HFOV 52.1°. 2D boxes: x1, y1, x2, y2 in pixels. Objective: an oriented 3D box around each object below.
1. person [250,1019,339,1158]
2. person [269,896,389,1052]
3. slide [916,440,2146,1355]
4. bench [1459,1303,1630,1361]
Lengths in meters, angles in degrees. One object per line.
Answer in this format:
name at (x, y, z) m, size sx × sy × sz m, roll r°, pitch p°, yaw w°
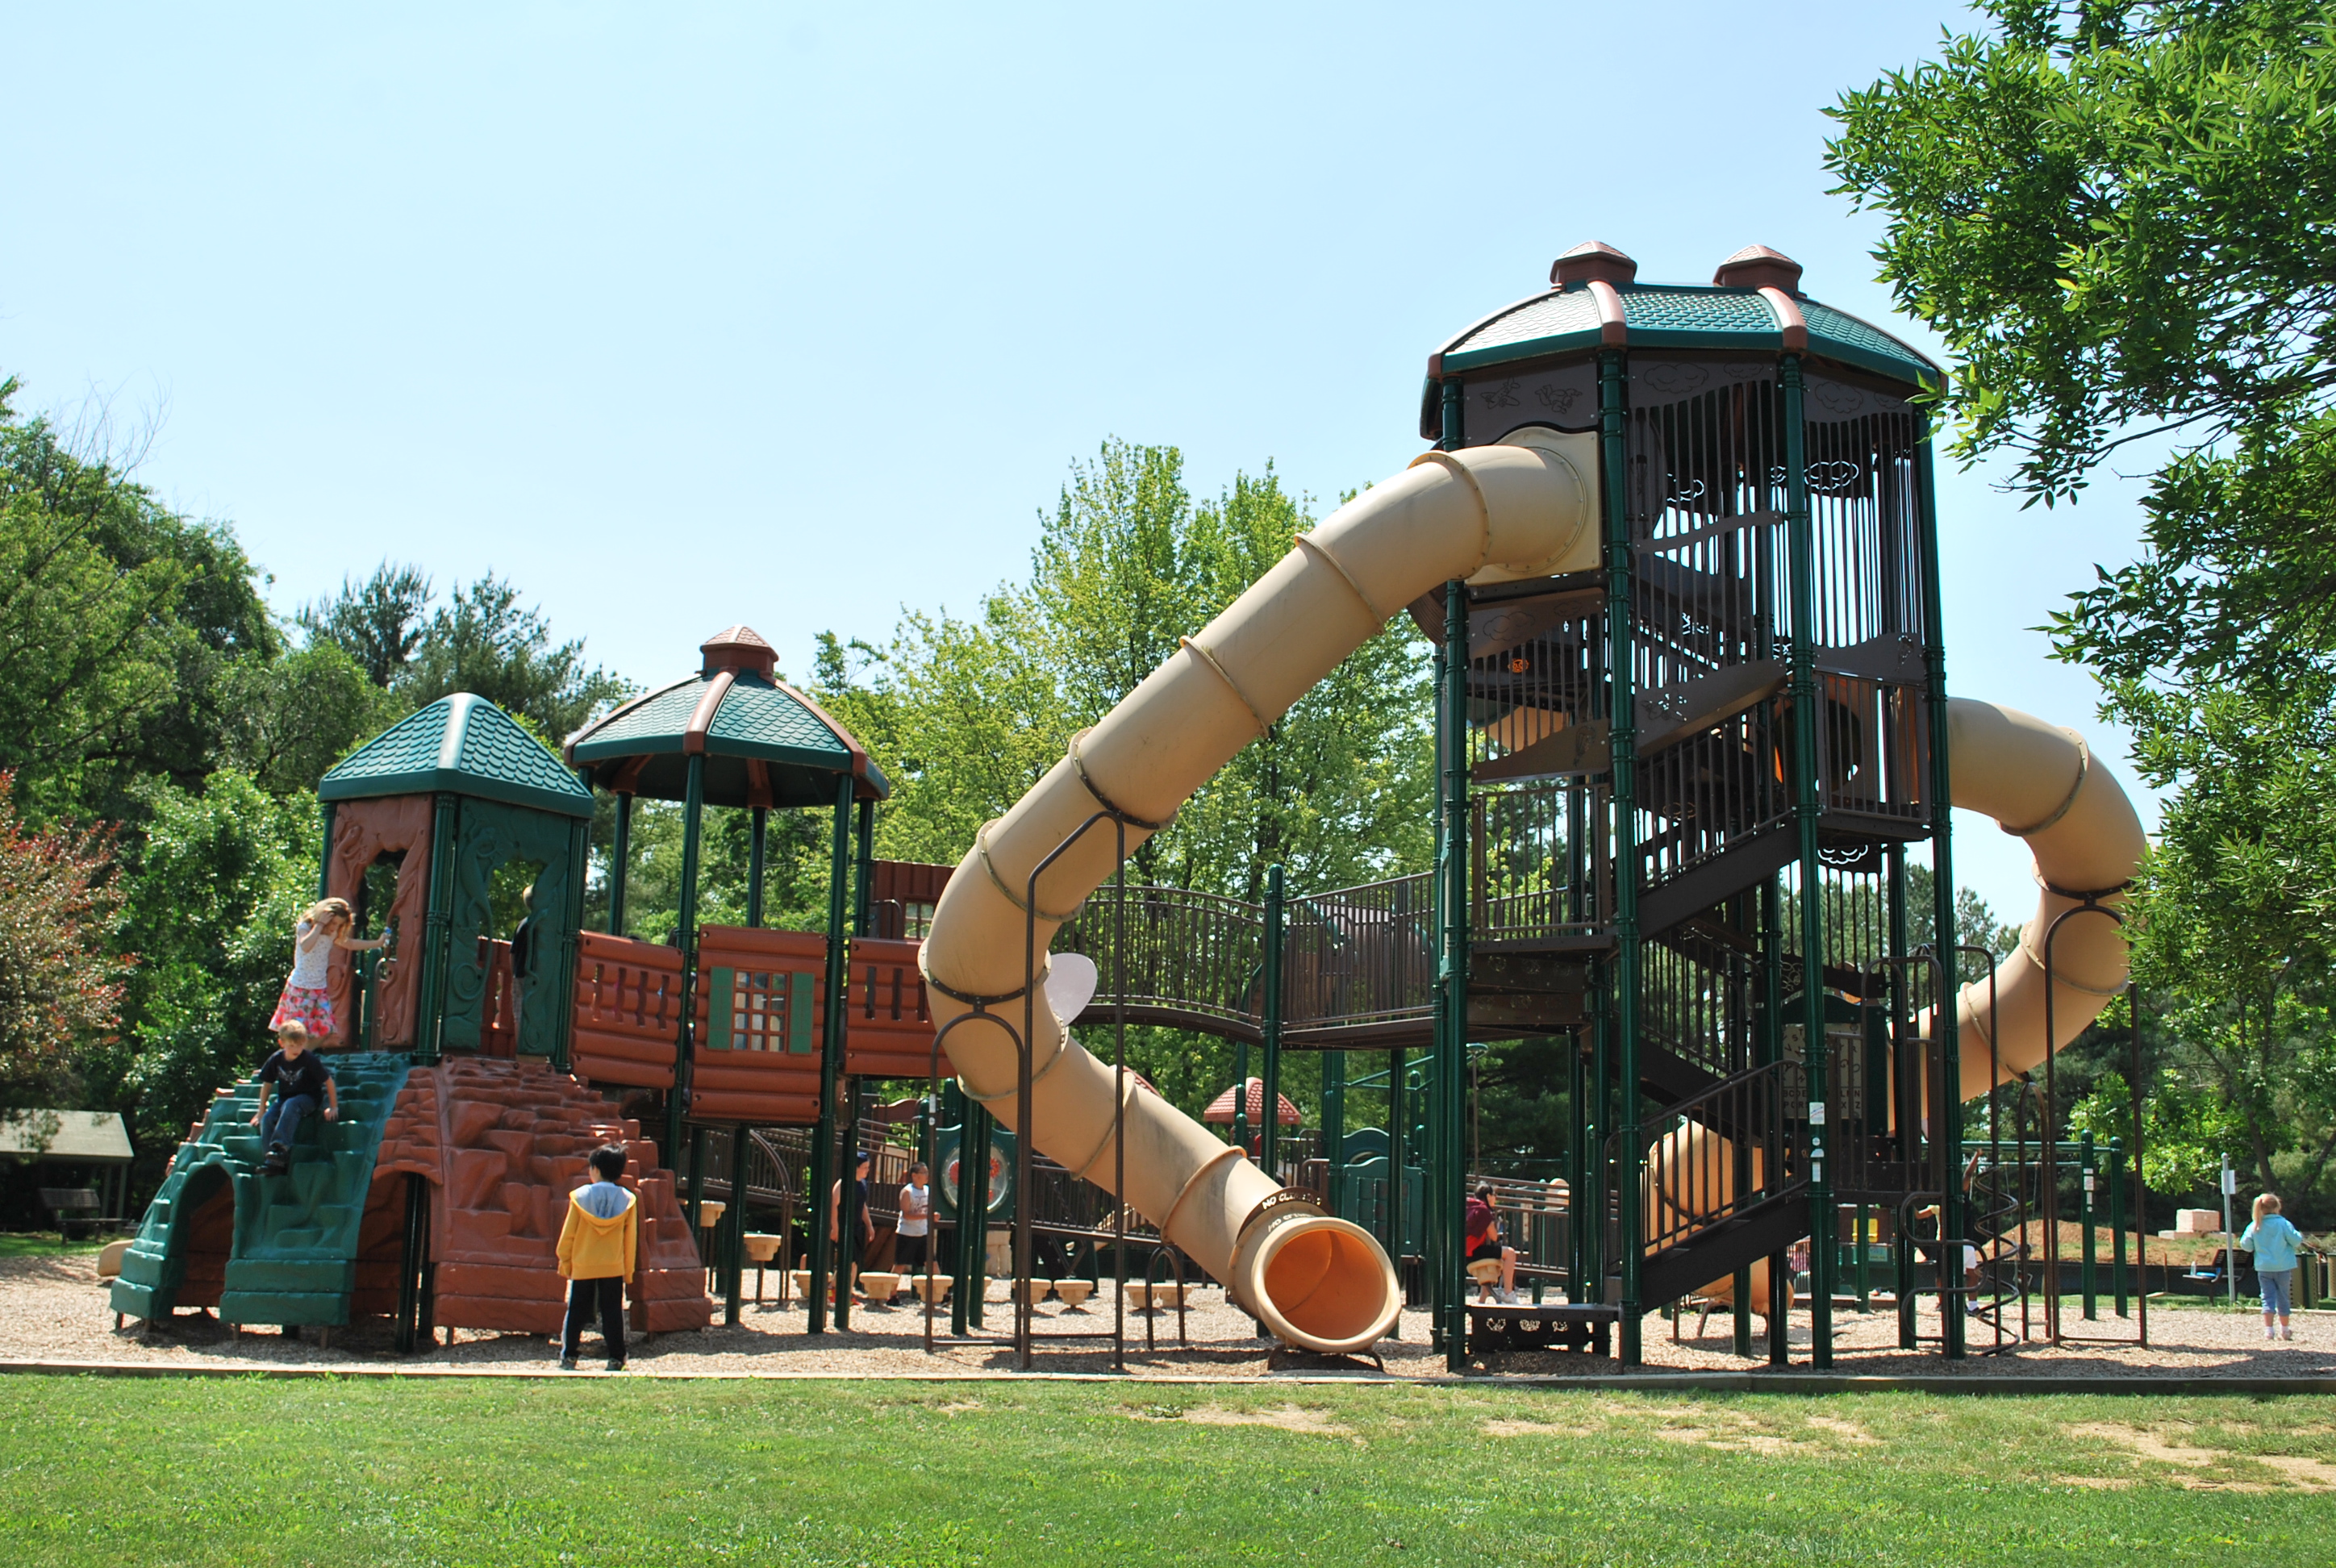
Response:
person at (-8.359, 2.978, 22.926) m, size 0.691 × 1.426 × 0.664 m, roll 9°, pitch -17°, yaw -30°
person at (-8.343, 1.814, 23.515) m, size 0.702 × 1.491 × 1.257 m, roll 5°, pitch -16°, yaw -17°
slide at (4.834, 1.504, 25.859) m, size 14.845 × 9.183 × 5.731 m, roll 4°, pitch -15°, yaw -17°
bench at (3.602, 5.305, 23.226) m, size 1.389 × 0.514 × 1.407 m, roll -2°, pitch -15°, yaw 6°
